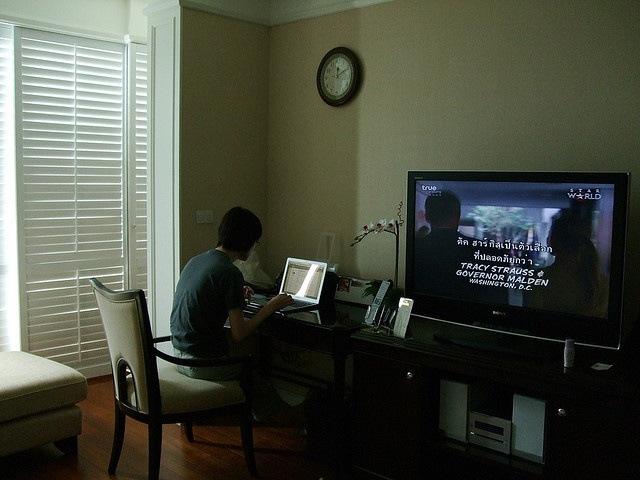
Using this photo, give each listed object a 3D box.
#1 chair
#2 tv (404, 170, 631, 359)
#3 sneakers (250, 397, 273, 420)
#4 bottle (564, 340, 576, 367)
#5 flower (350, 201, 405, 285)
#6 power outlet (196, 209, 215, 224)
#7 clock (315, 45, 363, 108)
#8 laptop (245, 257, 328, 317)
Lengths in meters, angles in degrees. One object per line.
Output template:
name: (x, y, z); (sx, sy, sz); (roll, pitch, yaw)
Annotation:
chair: (-0.953, 0.711, 3.550); (1.110, 1.587, 0.931); (-5, 7, -40)
tv: (1.054, 0.128, 2.747); (0.905, 0.690, 0.237); (5, 5, 34)
sneakers: (-0.355, 1.015, 3.297); (0.147, 0.130, 0.131); (8, -6, -39)
bottle: (1.200, 0.529, 2.577); (0.049, 0.121, 0.169); (4, 8, 25)
flower: (0.408, 0.012, 3.490); (0.262, 0.531, 0.589); (-3, 8, -24)
power outlet: (-0.826, -0.172, 3.822); (0.014, 0.076, 0.104); (-5, -3, 44)
clock: (0.147, -1.131, 3.696); (0.444, 0.505, 0.065); (3, 0, 40)
laptop: (-0.214, 0.280, 3.343); (0.350, 0.379, 0.261); (10, -3, 43)
